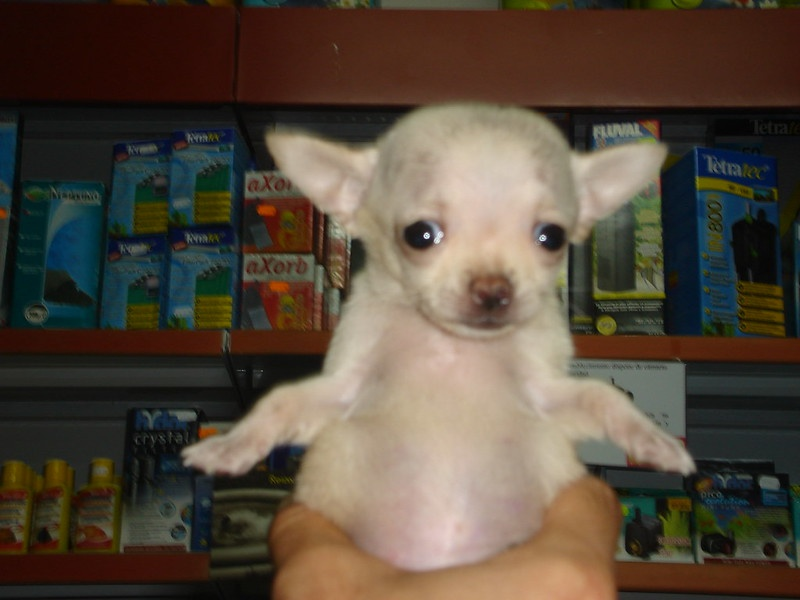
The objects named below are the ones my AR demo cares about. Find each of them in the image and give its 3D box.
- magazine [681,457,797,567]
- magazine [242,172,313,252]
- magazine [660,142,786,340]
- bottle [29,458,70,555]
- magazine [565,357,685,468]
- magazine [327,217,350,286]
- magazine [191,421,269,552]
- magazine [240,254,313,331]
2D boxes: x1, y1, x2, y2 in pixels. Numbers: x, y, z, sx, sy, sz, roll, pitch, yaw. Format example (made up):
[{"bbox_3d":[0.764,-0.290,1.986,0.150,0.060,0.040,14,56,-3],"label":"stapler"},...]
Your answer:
[{"bbox_3d":[0.752,0.464,1.660,0.220,0.130,0.180,3,36,0],"label":"magazine"},{"bbox_3d":[-0.271,-0.192,1.694,0.192,0.165,0.045,4,-3,19],"label":"magazine"},{"bbox_3d":[0.707,-0.116,1.749,0.314,0.408,0.277,-1,-10,17],"label":"magazine"},{"bbox_3d":[-0.792,0.467,1.721,0.095,0.210,0.056,-14,-23,20],"label":"bottle"},{"bbox_3d":[0.497,0.212,1.480,0.255,0.217,0.057,0,-12,0],"label":"magazine"},{"bbox_3d":[-0.132,-0.100,1.677,0.047,0.168,0.014,8,18,22],"label":"magazine"},{"bbox_3d":[-0.330,0.404,1.610,0.233,0.291,0.103,-2,1,11],"label":"magazine"},{"bbox_3d":[-0.264,-0.014,1.661,0.179,0.165,0.057,0,-3,10],"label":"magazine"}]
